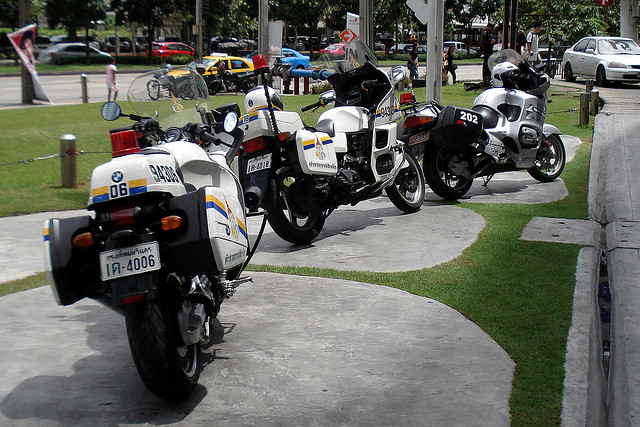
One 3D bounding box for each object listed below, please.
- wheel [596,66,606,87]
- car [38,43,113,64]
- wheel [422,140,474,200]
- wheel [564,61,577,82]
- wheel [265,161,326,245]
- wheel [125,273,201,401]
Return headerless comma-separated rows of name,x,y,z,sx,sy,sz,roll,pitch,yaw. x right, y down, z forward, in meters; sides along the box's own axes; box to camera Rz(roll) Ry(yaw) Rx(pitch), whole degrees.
wheel,13.720,-6.697,26.317,0.263,0.928,0.914,0,13,13
car,-22.663,-14.349,50.225,6.054,2.092,2.700,-10,21,-26
wheel,2.120,-0.693,9.138,0.778,0.996,0.362,-11,15,-31
wheel,13.650,-7.747,29.372,0.380,1.165,1.176,2,1,6
wheel,-0.350,-0.106,6.905,0.306,1.145,0.771,7,16,38
wheel,-1.067,0.867,3.778,0.488,0.878,0.353,-12,15,-33
